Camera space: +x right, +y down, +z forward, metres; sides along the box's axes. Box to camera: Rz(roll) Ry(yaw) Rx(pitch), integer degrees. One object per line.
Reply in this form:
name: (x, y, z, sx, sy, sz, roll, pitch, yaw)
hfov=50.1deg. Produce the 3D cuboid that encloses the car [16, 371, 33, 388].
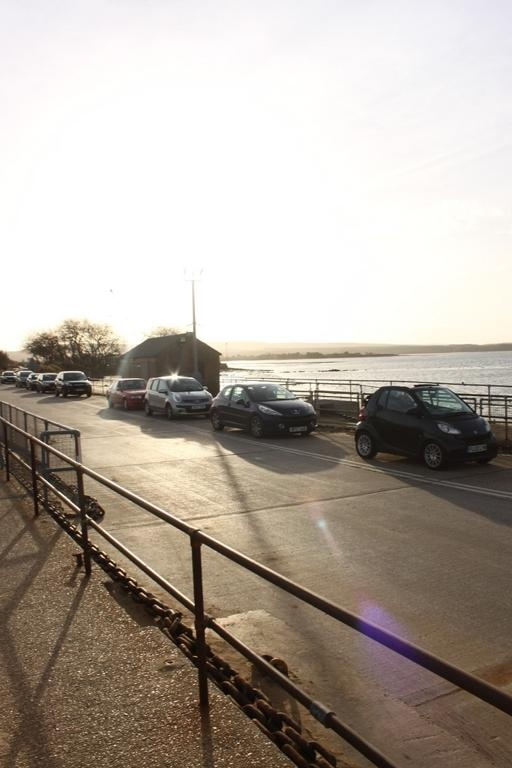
car: (-24.641, -0.579, 58.427, 1.849, 1.552, 4.158, -1, -2, -27)

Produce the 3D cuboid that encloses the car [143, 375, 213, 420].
car: (-3.283, 0.561, 23.045, 1.574, 1.187, 2.696, 1, -4, -31)

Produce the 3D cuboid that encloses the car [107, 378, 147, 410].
car: (-6.600, 0.545, 28.498, 1.258, 1.097, 2.607, -1, -2, -29)

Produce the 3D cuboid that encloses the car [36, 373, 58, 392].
car: (-17.444, -0.007, 45.658, 1.252, 1.516, 2.977, -1, 1, -25)

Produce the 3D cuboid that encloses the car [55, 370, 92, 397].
car: (-13.137, 0.086, 39.503, 2.047, 1.828, 2.626, -1, 1, -27)

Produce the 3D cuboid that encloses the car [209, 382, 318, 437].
car: (0.176, 0.791, 17.155, 1.415, 1.575, 3.213, -2, 1, -39)
